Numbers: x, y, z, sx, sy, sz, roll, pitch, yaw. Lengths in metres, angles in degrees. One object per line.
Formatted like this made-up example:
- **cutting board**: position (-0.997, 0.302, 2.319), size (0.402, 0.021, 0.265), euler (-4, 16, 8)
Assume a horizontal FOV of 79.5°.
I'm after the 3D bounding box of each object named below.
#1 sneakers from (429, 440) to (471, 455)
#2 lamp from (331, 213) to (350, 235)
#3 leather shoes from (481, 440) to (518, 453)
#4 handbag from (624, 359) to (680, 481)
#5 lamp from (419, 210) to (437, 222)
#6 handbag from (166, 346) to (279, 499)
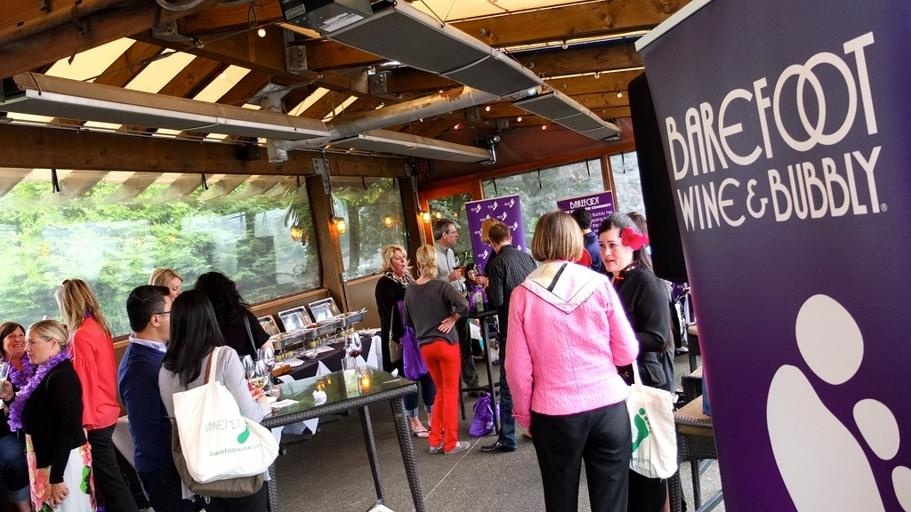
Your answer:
- **sneakers**: position (-0.048, 1.731, 4.923), size (0.377, 0.098, 0.133), euler (-6, -4, -11)
- **lamp**: position (-2.046, -0.539, 9.623), size (0.200, 0.303, 0.328), euler (-5, -10, -28)
- **leather shoes**: position (0.382, 1.653, 4.844), size (0.320, 0.124, 0.115), euler (2, -5, 10)
- **handbag**: position (0.951, 0.813, 2.655), size (0.110, 0.435, 0.298), euler (-8, 2, -42)
- **lamp**: position (-0.599, -0.807, 11.957), size (0.276, 0.263, 0.491), euler (-7, 0, -4)
- **handbag**: position (-1.163, 0.840, 2.720), size (0.475, 0.785, 0.215), euler (-7, 2, -21)
